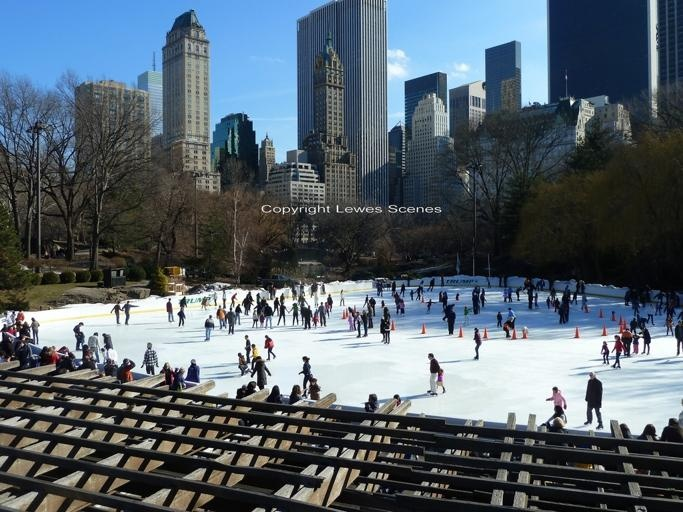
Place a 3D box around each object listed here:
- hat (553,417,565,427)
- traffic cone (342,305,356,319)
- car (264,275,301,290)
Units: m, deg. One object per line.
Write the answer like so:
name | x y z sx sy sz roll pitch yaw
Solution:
hat | 7.363 5.676 26.859 0.394 0.350 0.631 -5 -33 22
traffic cone | 0.437 3.355 47.169 0.888 1.046 0.851 3 -4 -16
car | -5.416 2.497 67.899 2.310 1.134 1.455 -2 5 -12
